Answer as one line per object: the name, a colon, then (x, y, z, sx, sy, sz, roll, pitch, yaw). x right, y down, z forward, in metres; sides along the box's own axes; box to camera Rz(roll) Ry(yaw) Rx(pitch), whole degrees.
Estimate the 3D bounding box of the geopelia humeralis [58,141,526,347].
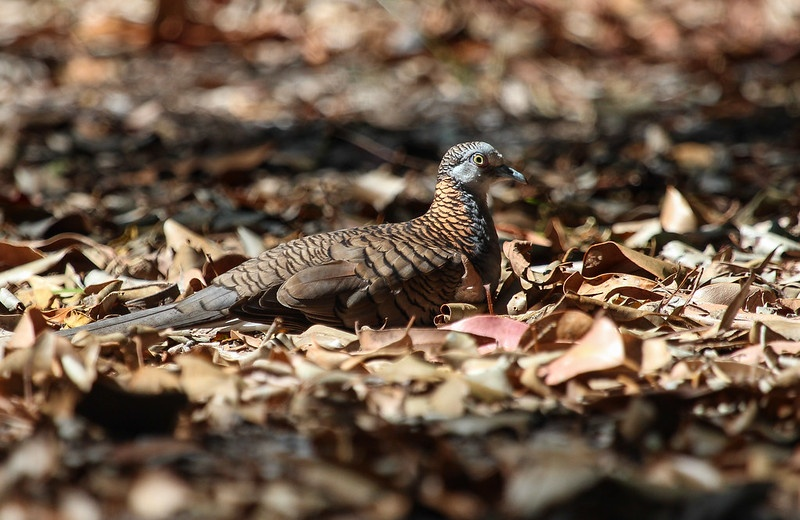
geopelia humeralis: (-0.251, -0.073, 2.807, 1.853, 0.428, 0.779, 6, 104, -9)
